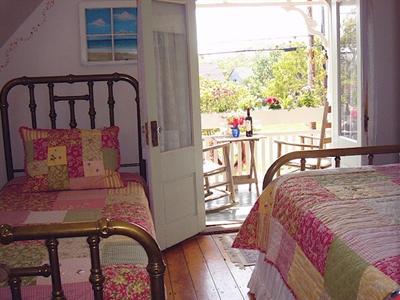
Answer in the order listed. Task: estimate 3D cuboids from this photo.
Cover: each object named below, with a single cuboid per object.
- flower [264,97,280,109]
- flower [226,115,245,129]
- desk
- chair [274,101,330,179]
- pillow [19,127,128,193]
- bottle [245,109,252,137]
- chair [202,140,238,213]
[{"bbox_3d":[1.353,-0.871,5.882,0.236,0.174,0.227,0,12,1],"label":"flower"},{"bbox_3d":[0.526,-0.424,4.703,0.195,0.145,0.198,-2,7,-3],"label":"flower"},{"bbox_3d":[0.596,0.231,4.599,0.626,0.743,0.546,-4,5,1],"label":"desk"},{"bbox_3d":[1.422,-0.077,4.247,0.698,1.095,0.774,-3,15,-27],"label":"chair"},{"bbox_3d":[-1.077,0.073,2.691,0.759,0.534,0.272,-2,7,-17],"label":"pillow"},{"bbox_3d":[0.718,-0.413,4.626,0.101,0.413,0.234,-1,11,8],"label":"bottle"},{"bbox_3d":[0.211,0.368,4.243,0.690,0.817,0.532,-11,2,12],"label":"chair"}]
